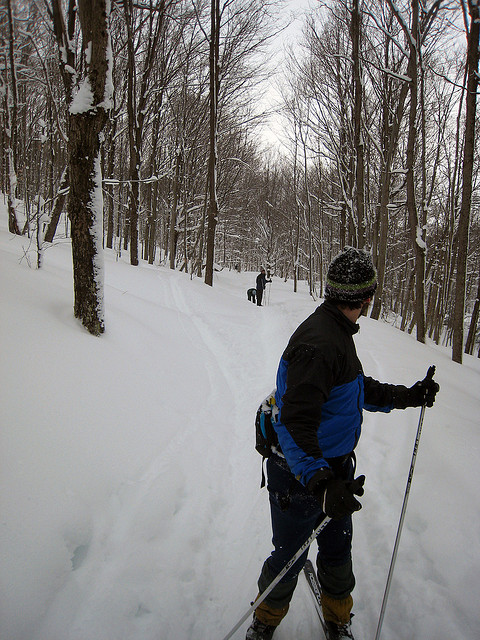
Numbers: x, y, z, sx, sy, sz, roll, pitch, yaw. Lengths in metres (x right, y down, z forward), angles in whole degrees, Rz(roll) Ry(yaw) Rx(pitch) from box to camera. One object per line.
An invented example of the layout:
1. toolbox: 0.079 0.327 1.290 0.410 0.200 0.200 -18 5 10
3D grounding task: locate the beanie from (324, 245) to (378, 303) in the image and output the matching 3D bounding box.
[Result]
1. beanie: 0.586 -0.266 2.538 0.214 0.360 0.263 12 18 33

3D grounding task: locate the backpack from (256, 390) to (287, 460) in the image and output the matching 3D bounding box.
1. backpack: 0.153 0.582 2.609 0.116 0.372 0.191 3 -13 -21
